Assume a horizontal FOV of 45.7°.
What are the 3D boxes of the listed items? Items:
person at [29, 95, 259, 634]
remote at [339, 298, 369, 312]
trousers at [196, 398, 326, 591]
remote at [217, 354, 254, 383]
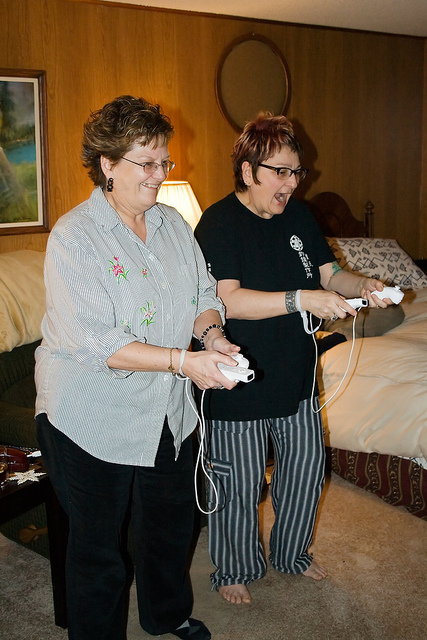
[{"bbox_3d":[-0.177,0.218,1.160,0.457,1.370,0.425,-2,6,-5],"label":"person"},{"bbox_3d":[0.352,-0.041,1.244,0.052,0.023,0.083,0,7,14],"label":"remote"},{"bbox_3d":[0.121,0.505,1.739,0.443,0.626,0.427,-3,17,-24],"label":"trousers"},{"bbox_3d":[0.045,0.105,1.017,0.066,0.059,0.157,-1,6,3],"label":"remote"}]
